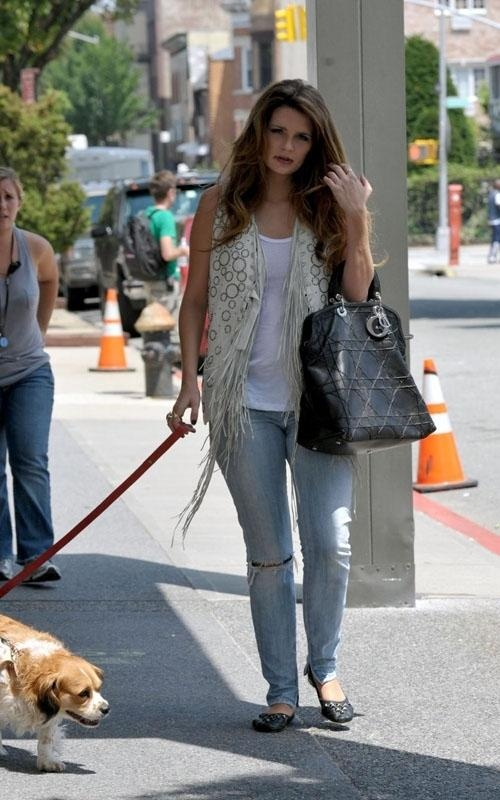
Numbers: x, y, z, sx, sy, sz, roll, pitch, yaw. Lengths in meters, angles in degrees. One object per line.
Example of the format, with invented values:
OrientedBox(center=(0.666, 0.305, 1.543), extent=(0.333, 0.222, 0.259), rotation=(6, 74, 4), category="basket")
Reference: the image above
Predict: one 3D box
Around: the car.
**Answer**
OrientedBox(center=(-1.881, -2.570, 15.317), extent=(1.995, 1.809, 3.507), rotation=(-1, 15, -9), category="car")

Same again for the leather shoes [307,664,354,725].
OrientedBox(center=(0.234, 0.881, 3.111), extent=(0.074, 0.036, 0.250), rotation=(-12, 41, -16), category="leather shoes")

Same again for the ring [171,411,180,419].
OrientedBox(center=(-0.225, 0.045, 3.052), extent=(0.016, 0.010, 0.022), rotation=(10, -22, 45), category="ring")

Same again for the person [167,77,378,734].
OrientedBox(center=(0.039, 0.025, 3.034), extent=(0.596, 1.886, 0.330), rotation=(2, 5, 12), category="person")

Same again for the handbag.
OrientedBox(center=(0.311, -0.064, 2.863), extent=(0.356, 0.410, 0.222), rotation=(-1, 5, -24), category="handbag")
